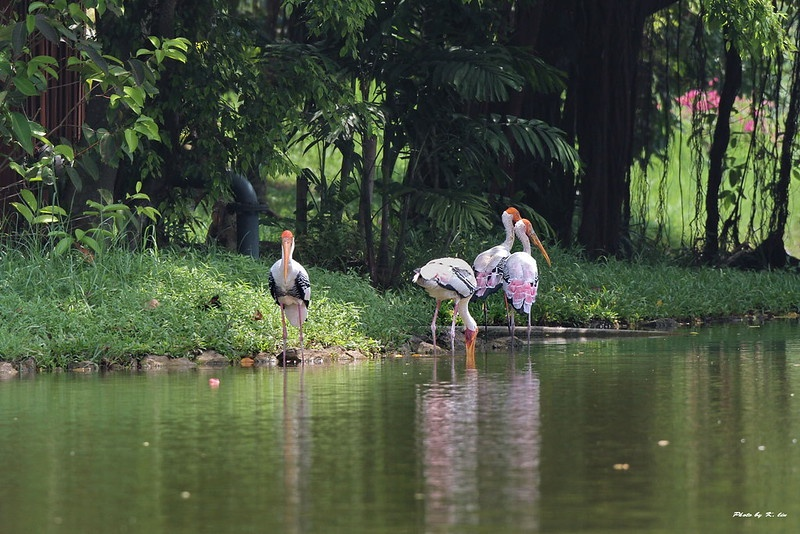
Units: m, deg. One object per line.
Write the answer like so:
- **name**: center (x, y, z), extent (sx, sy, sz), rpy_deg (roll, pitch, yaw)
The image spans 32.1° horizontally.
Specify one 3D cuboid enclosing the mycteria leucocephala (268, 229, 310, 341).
- **mycteria leucocephala**: center (-1.559, 0.272, 19.301), extent (0.560, 1.592, 0.856), rpy_deg (1, -5, -6)
